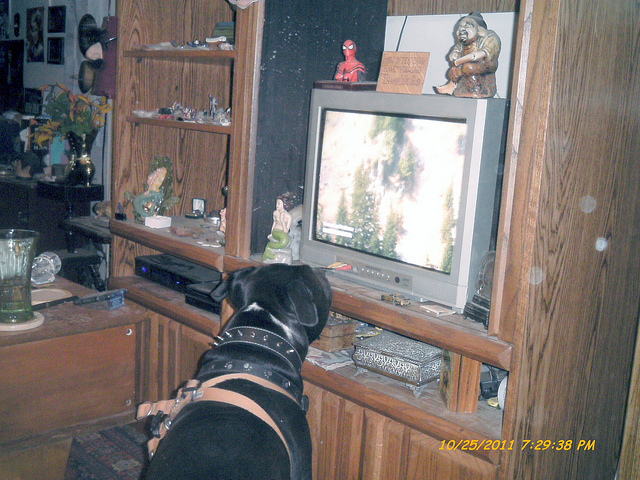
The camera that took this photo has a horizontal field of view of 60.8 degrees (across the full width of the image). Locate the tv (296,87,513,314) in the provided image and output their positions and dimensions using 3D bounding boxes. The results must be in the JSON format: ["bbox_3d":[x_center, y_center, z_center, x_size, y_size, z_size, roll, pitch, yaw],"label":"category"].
[{"bbox_3d":[0.295,-0.126,1.779,0.630,0.622,0.356,16,16,38],"label":"tv"}]

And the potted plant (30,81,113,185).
[{"bbox_3d":[-1.701,-0.734,3.946,0.506,0.738,0.749,1,0,13],"label":"potted plant"}]

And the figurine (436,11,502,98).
[{"bbox_3d":[0.475,-0.604,1.776,0.194,0.280,0.165,-1,6,0],"label":"figurine"}]

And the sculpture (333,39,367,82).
[{"bbox_3d":[0.118,-0.678,2.071,0.111,0.172,0.187,2,11,-11],"label":"sculpture"}]

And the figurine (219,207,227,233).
[{"bbox_3d":[-0.431,-0.090,2.399,0.023,0.101,0.173,2,11,-11],"label":"figurine"}]
